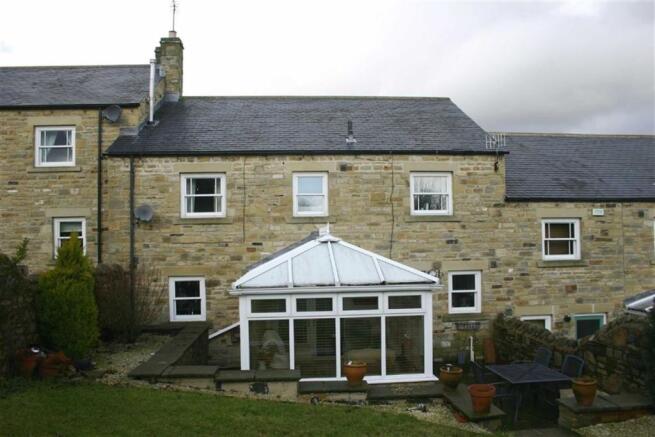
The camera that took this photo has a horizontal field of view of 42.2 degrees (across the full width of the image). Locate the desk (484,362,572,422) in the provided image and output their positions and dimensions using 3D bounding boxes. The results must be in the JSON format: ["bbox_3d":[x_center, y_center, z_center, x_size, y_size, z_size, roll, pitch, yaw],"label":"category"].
[{"bbox_3d":[5.773,5.088,24.586,1.871,1.000,1.722,2,3,-12],"label":"desk"}]

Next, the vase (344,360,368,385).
[{"bbox_3d":[0.805,4.475,24.413,0.592,0.682,0.446,1,-6,-12],"label":"vase"}]

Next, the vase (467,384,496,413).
[{"bbox_3d":[4.295,5.046,23.678,0.819,0.535,0.756,1,-7,1],"label":"vase"}]

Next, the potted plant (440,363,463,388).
[{"bbox_3d":[3.606,4.561,24.558,0.750,0.569,0.669,1,-5,4],"label":"potted plant"}]

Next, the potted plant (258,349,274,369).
[{"bbox_3d":[-1.779,4.215,25.211,0.548,0.489,0.534,8,-11,-33],"label":"potted plant"}]

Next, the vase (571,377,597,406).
[{"bbox_3d":[7.146,4.827,23.592,0.745,0.652,0.745,-1,-2,-41],"label":"vase"}]
